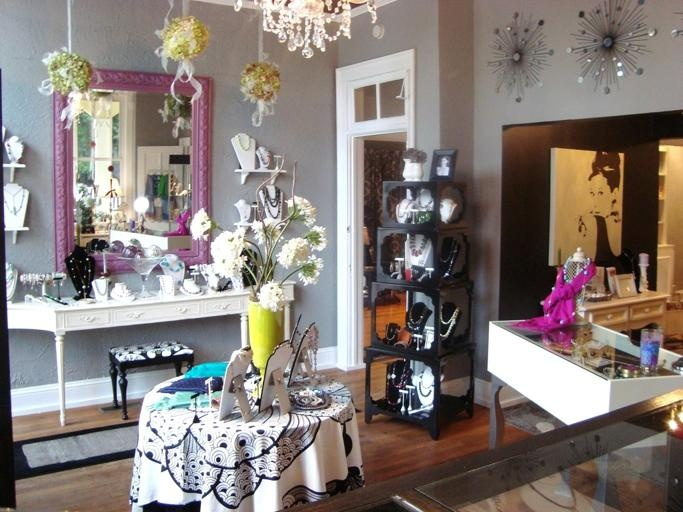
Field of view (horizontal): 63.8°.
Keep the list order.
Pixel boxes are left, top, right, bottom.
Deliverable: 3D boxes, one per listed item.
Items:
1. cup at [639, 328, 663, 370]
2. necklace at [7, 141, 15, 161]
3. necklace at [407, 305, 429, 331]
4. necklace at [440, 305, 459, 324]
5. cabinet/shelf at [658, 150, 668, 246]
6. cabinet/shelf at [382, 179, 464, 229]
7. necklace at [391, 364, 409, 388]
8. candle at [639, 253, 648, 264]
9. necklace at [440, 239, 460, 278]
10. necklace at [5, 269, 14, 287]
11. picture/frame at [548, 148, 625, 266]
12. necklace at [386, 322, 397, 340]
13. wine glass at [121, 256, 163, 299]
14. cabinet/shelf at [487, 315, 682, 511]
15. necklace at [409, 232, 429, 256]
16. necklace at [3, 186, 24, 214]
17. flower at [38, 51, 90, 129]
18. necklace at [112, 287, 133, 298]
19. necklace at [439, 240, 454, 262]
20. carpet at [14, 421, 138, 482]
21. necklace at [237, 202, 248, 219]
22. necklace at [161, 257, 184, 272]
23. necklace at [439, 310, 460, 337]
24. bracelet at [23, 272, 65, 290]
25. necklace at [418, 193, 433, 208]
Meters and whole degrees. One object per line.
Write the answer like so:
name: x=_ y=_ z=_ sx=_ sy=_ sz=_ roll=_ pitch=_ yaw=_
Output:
cup: x=1.569 y=0.464 z=2.778 sx=0.096 sy=0.181 sz=0.207 roll=1 pitch=3 yaw=28
necklace: x=-2.690 y=-0.848 z=4.471 sx=0.043 sy=0.158 sz=0.025 roll=-6 pitch=5 yaw=7
necklace: x=0.640 y=0.511 z=4.576 sx=0.154 sy=0.226 sz=0.063 roll=18 pitch=-5 yaw=35
necklace: x=0.903 y=0.478 z=4.600 sx=0.121 sy=0.186 sz=0.065 roll=6 pitch=-8 yaw=-6
cabinet/shelf: x=4.195 y=-0.769 z=7.158 sx=0.089 sy=1.221 sz=0.339 roll=1 pitch=3 yaw=31
cabinet/shelf: x=0.735 y=-0.430 z=4.514 sx=0.463 sy=0.310 sz=0.472 roll=-3 pitch=5 yaw=-17
necklace: x=0.512 y=1.025 z=4.728 sx=0.134 sy=0.198 sz=0.168 roll=2 pitch=-6 yaw=17
candle: x=2.992 y=0.029 z=5.433 sx=0.084 sy=0.119 sz=0.066 roll=6 pitch=10 yaw=43
necklace: x=0.895 y=0.003 z=4.571 sx=0.107 sy=0.321 sz=0.187 roll=10 pitch=-12 yaw=29
necklace: x=-2.674 y=0.185 z=4.438 sx=0.042 sy=0.141 sz=0.026 roll=0 pitch=2 yaw=10
picture/frame: x=2.341 y=-0.482 z=5.310 sx=0.079 sy=1.030 sz=1.165 roll=0 pitch=1 yaw=39
necklace: x=0.429 y=0.634 z=4.680 sx=0.098 sy=0.115 sz=0.126 roll=2 pitch=-11 yaw=6
wine glass: x=-1.719 y=0.195 z=4.889 sx=0.328 sy=0.388 sz=0.342 roll=0 pitch=-2 yaw=-7
cabinet/shelf: x=1.340 y=0.650 z=3.089 sx=0.506 sy=0.406 sz=1.080 roll=-1 pitch=3 yaw=-19
necklace: x=0.642 y=-0.096 z=4.554 sx=0.121 sy=0.187 sz=0.044 roll=9 pitch=0 yaw=23
necklace: x=-2.660 y=-0.460 z=4.480 sx=0.144 sy=0.252 sz=0.045 roll=-2 pitch=3 yaw=-36
flower: x=-2.178 y=-1.297 z=4.267 sx=0.318 sy=0.624 sz=0.443 roll=4 pitch=12 yaw=-31
necklace: x=-1.876 y=0.314 z=4.715 sx=0.153 sy=0.077 sz=0.094 roll=1 pitch=1 yaw=15
necklace: x=0.881 y=-0.054 z=4.565 sx=0.102 sy=0.196 sz=0.042 roll=12 pitch=0 yaw=-33
carpet: x=-1.951 y=1.420 z=4.052 sx=0.838 sy=0.067 sz=0.632 roll=-2 pitch=3 yaw=-27
necklace: x=-0.955 y=-0.446 z=5.325 sx=0.134 sy=0.174 sz=0.087 roll=-5 pitch=5 yaw=-32
necklace: x=-1.524 y=0.067 z=4.973 sx=0.158 sy=0.126 sz=0.055 roll=25 pitch=-15 yaw=-33
necklace: x=0.907 y=0.564 z=4.586 sx=0.148 sy=0.226 sz=0.060 roll=17 pitch=-5 yaw=23
bracelet: x=-2.461 y=0.204 z=4.549 sx=0.347 sy=0.127 sz=0.235 roll=-2 pitch=3 yaw=-30
necklace: x=0.686 y=-0.448 z=4.435 sx=0.090 sy=0.108 sz=0.107 roll=7 pitch=12 yaw=44
